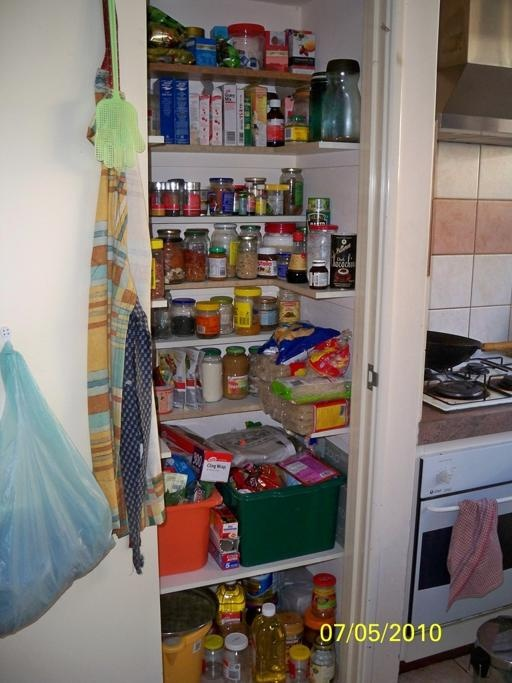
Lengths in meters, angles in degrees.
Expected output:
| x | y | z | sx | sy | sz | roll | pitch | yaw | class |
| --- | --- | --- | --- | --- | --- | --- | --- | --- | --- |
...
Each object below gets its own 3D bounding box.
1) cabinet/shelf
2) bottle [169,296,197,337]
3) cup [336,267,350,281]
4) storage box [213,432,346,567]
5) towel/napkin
| x | y | z | sx | sy | sz | roll | pitch | yaw | class |
| --- | --- | --- | --- | --- | --- | --- | --- | --- | --- |
| 0.056 | -0.012 | 1.627 | 0.666 | 1.992 | 0.709 | -6 | 12 | -13 | cabinet/shelf |
| -0.220 | -0.071 | 1.669 | 0.095 | 0.138 | 0.100 | 1 | 6 | 0 | bottle |
| 0.229 | -0.177 | 1.465 | 0.030 | 0.028 | 0.030 | 0 | 8 | 0 | cup |
| 0.084 | 0.463 | 1.620 | 0.290 | 0.191 | 0.235 | -2 | 9 | -20 | storage box |
| 0.612 | 0.574 | 1.593 | 0.202 | 0.273 | 0.078 | 1 | 5 | -4 | towel/napkin |
